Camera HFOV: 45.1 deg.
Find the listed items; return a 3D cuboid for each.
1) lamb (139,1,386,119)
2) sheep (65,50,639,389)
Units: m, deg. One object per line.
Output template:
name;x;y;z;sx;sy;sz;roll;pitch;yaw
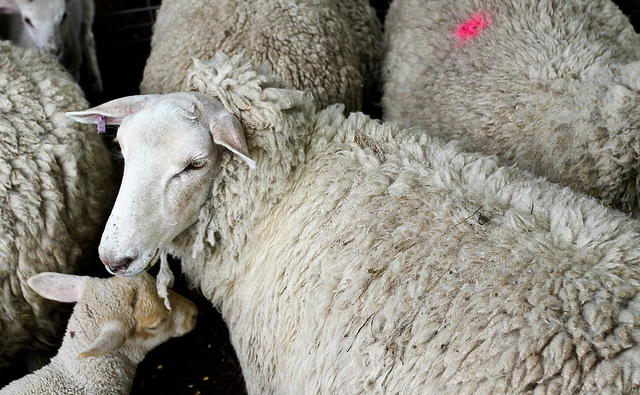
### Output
lamb;-0.397;-0.915;5.138;0.993;0.547;0.495;-28;72;-8
sheep;0.343;-0.145;4.840;3.357;2.266;1.699;12;46;33
